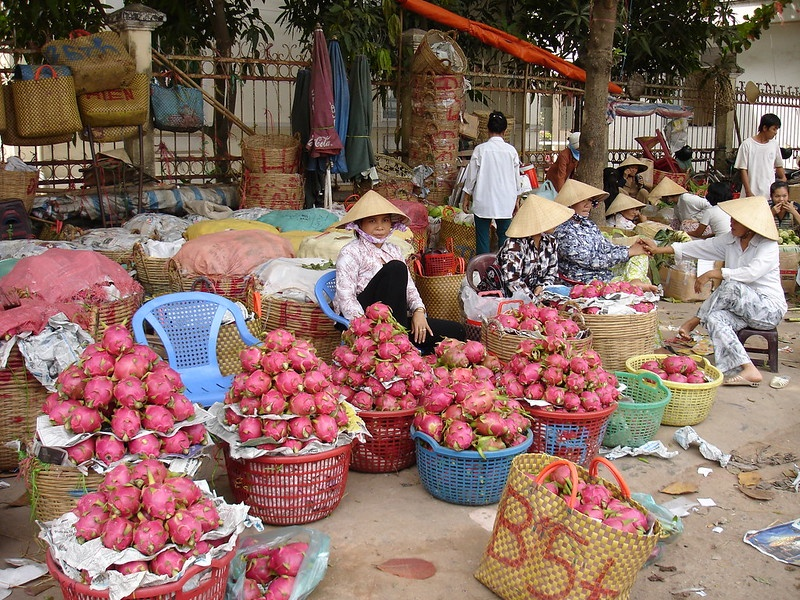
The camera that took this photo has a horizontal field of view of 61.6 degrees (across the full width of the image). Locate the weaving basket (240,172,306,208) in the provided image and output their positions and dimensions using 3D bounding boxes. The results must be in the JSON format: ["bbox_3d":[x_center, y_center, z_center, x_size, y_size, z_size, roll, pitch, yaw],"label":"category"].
[{"bbox_3d":[-1.560,-1.329,8.295,0.509,0.369,0.535,2,7,0],"label":"weaving basket"}]

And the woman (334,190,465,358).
[{"bbox_3d":[-0.047,-0.179,4.893,0.965,1.274,0.784,-2,8,30],"label":"woman"}]

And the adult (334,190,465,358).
[{"bbox_3d":[-0.024,-0.177,4.882,0.989,1.300,0.833,-4,6,23],"label":"adult"}]

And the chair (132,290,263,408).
[{"bbox_3d":[-1.256,0.306,4.059,0.685,0.535,0.777,-4,15,-24],"label":"chair"}]

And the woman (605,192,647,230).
[{"bbox_3d":[2.952,-1.176,8.824,0.579,0.412,0.649,-12,0,22],"label":"woman"}]

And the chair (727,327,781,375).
[{"bbox_3d":[3.277,0.408,6.123,0.420,0.426,0.431,10,22,43],"label":"chair"}]

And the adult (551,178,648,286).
[{"bbox_3d":[1.915,-0.552,6.155,1.050,1.100,0.667,7,16,38],"label":"adult"}]

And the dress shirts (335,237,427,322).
[{"bbox_3d":[-0.208,-0.091,5.054,0.531,0.657,0.640,7,-17,-27],"label":"dress shirts"}]

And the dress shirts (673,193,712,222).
[{"bbox_3d":[3.967,-1.234,9.060,0.491,0.505,0.285,8,44,40],"label":"dress shirts"}]

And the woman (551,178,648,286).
[{"bbox_3d":[1.926,-0.553,6.149,1.028,1.100,0.669,6,15,34],"label":"woman"}]

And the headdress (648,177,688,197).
[{"bbox_3d":[3.882,-1.598,9.687,0.410,0.221,0.394,-16,16,-24],"label":"headdress"}]

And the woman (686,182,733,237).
[{"bbox_3d":[3.842,-1.125,8.523,0.561,0.697,0.579,-16,23,-37],"label":"woman"}]

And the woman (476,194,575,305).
[{"bbox_3d":[1.111,-0.392,5.659,0.429,0.633,0.436,20,21,29],"label":"woman"}]

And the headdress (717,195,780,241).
[{"bbox_3d":[2.965,-0.698,5.631,0.398,0.172,0.405,39,18,22],"label":"headdress"}]

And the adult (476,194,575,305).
[{"bbox_3d":[1.143,-0.400,5.666,0.435,0.631,0.421,-18,28,-14],"label":"adult"}]

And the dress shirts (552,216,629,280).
[{"bbox_3d":[1.793,-0.454,6.303,0.641,0.722,0.530,5,15,18],"label":"dress shirts"}]

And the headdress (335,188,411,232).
[{"bbox_3d":[-0.224,-0.654,4.957,0.359,0.168,0.368,-2,2,-18],"label":"headdress"}]

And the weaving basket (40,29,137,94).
[{"bbox_3d":[-3.365,-2.595,7.343,0.770,0.294,0.794,-16,57,-30],"label":"weaving basket"}]

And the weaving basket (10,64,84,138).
[{"bbox_3d":[-3.742,-2.097,7.079,0.640,0.870,0.449,-9,8,-31],"label":"weaving basket"}]

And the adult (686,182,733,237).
[{"bbox_3d":[3.846,-1.132,8.482,0.536,0.698,0.582,-25,30,-35],"label":"adult"}]

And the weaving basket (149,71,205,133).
[{"bbox_3d":[-2.722,-2.429,8.303,0.696,0.777,0.321,-12,6,-42],"label":"weaving basket"}]

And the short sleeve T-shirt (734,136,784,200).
[{"bbox_3d":[4.896,-1.887,9.283,0.576,0.296,0.730,13,57,48],"label":"short sleeve T-shirt"}]

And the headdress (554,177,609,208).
[{"bbox_3d":[1.661,-0.961,6.113,0.356,0.162,0.375,-8,-6,5],"label":"headdress"}]

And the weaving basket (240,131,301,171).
[{"bbox_3d":[-1.597,-1.797,8.310,0.577,0.335,0.612,3,18,13],"label":"weaving basket"}]

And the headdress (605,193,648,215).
[{"bbox_3d":[2.831,-1.199,8.537,0.327,0.147,0.333,-13,0,-20],"label":"headdress"}]

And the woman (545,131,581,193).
[{"bbox_3d":[2.382,-1.878,9.748,0.188,0.607,0.210,7,21,-15],"label":"woman"}]

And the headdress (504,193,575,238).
[{"bbox_3d":[1.106,-0.662,5.464,0.396,0.176,0.394,-30,22,-21],"label":"headdress"}]
